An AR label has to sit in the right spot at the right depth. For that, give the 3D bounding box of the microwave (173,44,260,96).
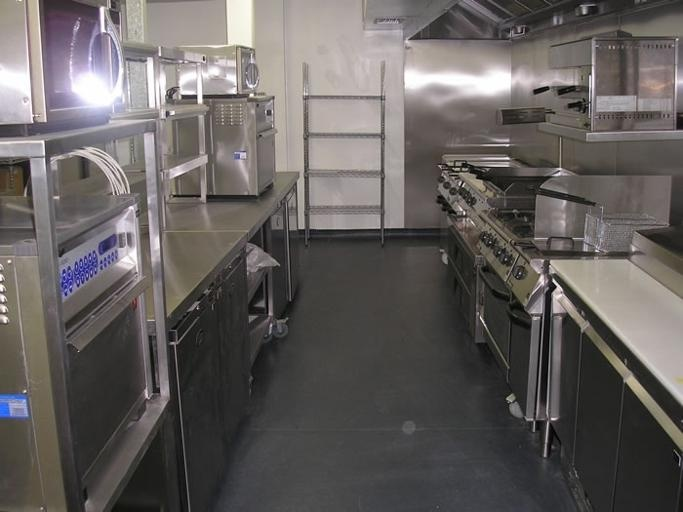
[{"bbox_3d":[-0.846,-1.334,3.598,0.313,0.353,0.669,8,18,34],"label":"microwave"}]

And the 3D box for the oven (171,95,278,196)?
[{"bbox_3d":[-0.865,-0.725,3.822,0.605,0.804,1.065,-1,12,-1],"label":"oven"}]

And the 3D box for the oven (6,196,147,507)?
[{"bbox_3d":[-0.682,0.218,1.246,0.260,0.677,0.452,-2,14,0],"label":"oven"}]
